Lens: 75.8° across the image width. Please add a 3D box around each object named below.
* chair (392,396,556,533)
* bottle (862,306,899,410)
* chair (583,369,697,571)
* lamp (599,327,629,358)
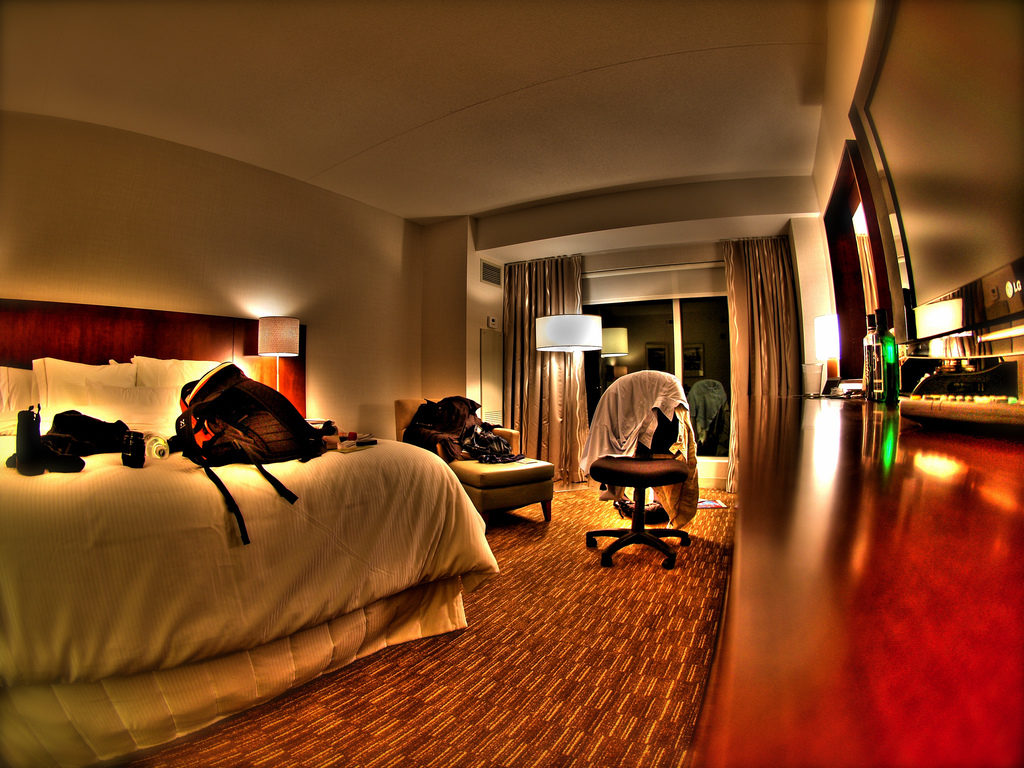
[{"bbox_3d":[-0.355,0.516,4.650,0.653,1.010,1.145,-2,-2,-34],"label":"chair"},{"bbox_3d":[1.318,-0.101,2.355,0.106,0.332,0.384,3,10,27],"label":"bottle"},{"bbox_3d":[0.744,0.444,3.901,0.646,1.038,0.986,0,9,7],"label":"chair"},{"bbox_3d":[0.943,-0.383,6.126,0.230,0.298,0.247,-1,-1,29],"label":"lamp"}]
